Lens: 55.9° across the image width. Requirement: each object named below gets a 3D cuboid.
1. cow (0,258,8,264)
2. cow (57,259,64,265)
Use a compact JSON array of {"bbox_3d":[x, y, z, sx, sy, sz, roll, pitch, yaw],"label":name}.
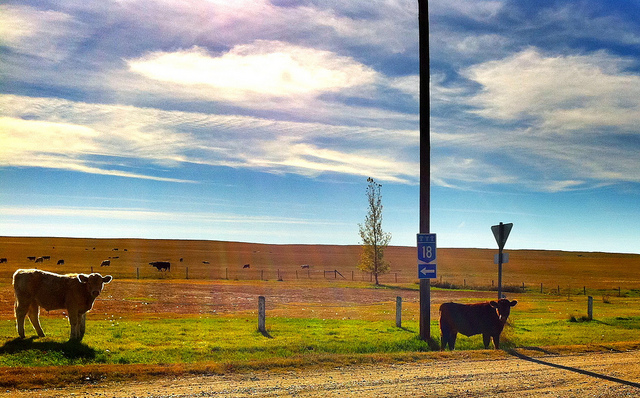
[{"bbox_3d":[-63.156,12.044,120.766,1.209,1.078,0.852,-1,-13,-34],"label":"cow"},{"bbox_3d":[-51.956,12.536,121.088,1.369,0.902,0.720,1,-1,-41],"label":"cow"}]
